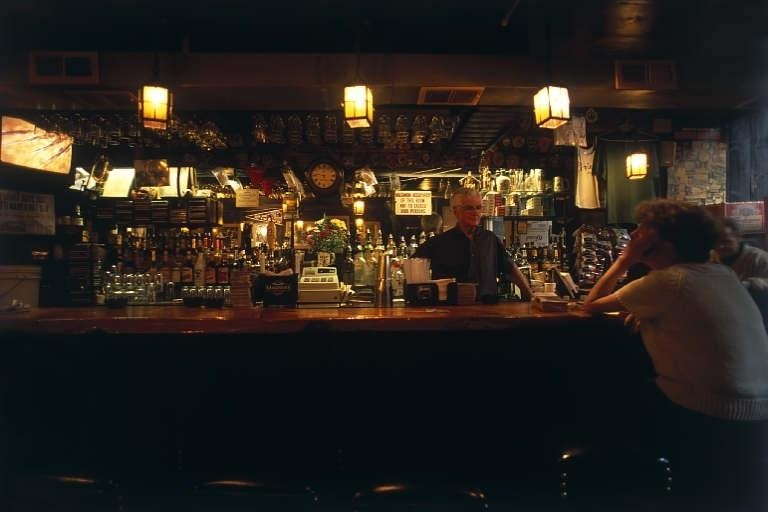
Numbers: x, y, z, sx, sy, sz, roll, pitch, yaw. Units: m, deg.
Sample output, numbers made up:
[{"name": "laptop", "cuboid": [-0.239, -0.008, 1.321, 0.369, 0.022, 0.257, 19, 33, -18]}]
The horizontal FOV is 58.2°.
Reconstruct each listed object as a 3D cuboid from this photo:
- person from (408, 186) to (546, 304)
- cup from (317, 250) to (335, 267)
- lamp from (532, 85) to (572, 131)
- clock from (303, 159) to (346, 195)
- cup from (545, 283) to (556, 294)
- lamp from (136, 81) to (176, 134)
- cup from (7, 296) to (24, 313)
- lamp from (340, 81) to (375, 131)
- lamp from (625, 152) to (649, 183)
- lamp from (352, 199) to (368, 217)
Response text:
[{"name": "person", "cuboid": [0.894, -0.150, 7.377, 1.140, 1.181, 1.011, 1, -3, 0]}, {"name": "cup", "cuboid": [-0.622, 0.015, 7.342, 0.148, 0.176, 0.253, 0, 1, 1]}, {"name": "lamp", "cuboid": [1.754, -1.525, 7.251, 0.449, 0.437, 0.450, -2, -4, 29]}, {"name": "clock", "cuboid": [-0.780, -1.030, 9.073, 0.483, 0.425, 0.157, 2, -4, -7]}, {"name": "cup", "cuboid": [1.623, 0.302, 6.723, 0.103, 0.086, 0.096, 0, -4, 0]}, {"name": "lamp", "cuboid": [-2.300, -1.519, 7.152, 0.418, 0.672, 0.412, 3, -1, -3]}, {"name": "cup", "cuboid": [-3.363, 0.447, 6.309, 0.119, 0.096, 0.248, 3, -3, -27]}, {"name": "lamp", "cuboid": [-0.248, -1.556, 7.259, 0.427, 0.535, 0.400, 0, -8, -2]}, {"name": "lamp", "cuboid": [3.174, -1.105, 8.654, 0.329, 0.415, 0.309, 4, -4, -1]}, {"name": "lamp", "cuboid": [-0.386, -0.699, 9.840, 0.211, 0.223, 0.223, 5, 4, 32]}]
